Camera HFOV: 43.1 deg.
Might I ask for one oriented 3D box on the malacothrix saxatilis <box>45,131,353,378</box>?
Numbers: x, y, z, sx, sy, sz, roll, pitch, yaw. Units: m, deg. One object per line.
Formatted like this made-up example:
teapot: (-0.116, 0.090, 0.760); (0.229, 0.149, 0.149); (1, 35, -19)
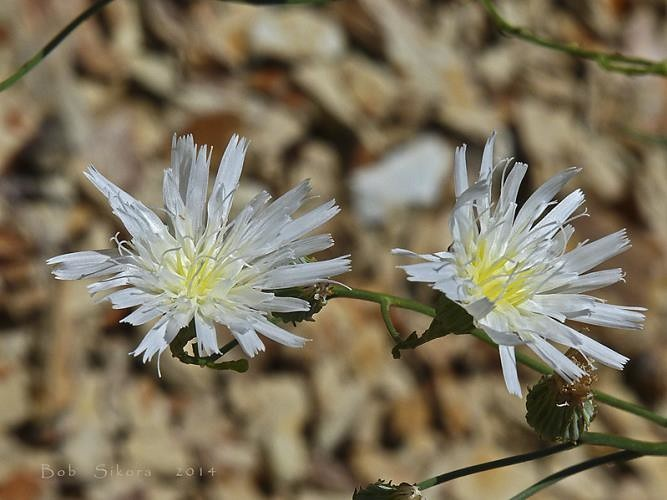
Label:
malacothrix saxatilis: (-0.166, 0.010, 1.063); (0.319, 0.103, 0.315); (13, 50, 0)

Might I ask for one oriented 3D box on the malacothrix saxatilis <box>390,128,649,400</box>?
malacothrix saxatilis: (0.235, 0.063, 1.150); (0.339, 0.143, 0.334); (35, 54, -14)
